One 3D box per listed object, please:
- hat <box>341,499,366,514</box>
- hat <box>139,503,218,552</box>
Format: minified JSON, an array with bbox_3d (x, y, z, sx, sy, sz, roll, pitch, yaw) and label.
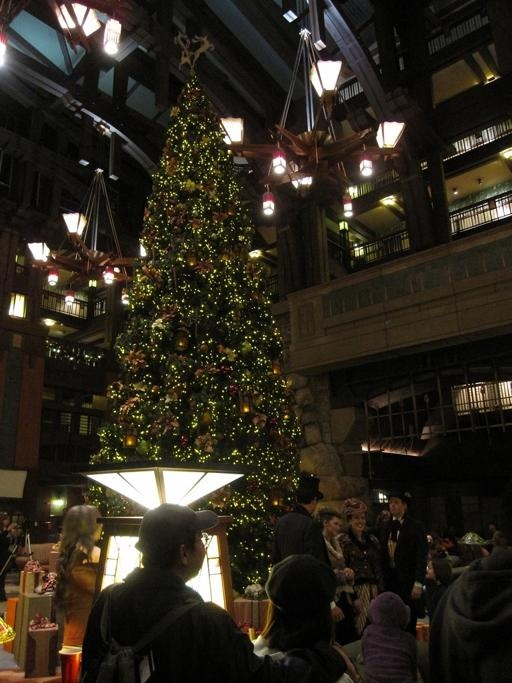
[{"bbox_3d":[0.866,1.416,5.052,0.206,0.078,0.203,-4,-15,19],"label":"hat"},{"bbox_3d":[-0.227,0.558,1.832,0.228,0.111,0.151,-9,4,-34],"label":"hat"}]
